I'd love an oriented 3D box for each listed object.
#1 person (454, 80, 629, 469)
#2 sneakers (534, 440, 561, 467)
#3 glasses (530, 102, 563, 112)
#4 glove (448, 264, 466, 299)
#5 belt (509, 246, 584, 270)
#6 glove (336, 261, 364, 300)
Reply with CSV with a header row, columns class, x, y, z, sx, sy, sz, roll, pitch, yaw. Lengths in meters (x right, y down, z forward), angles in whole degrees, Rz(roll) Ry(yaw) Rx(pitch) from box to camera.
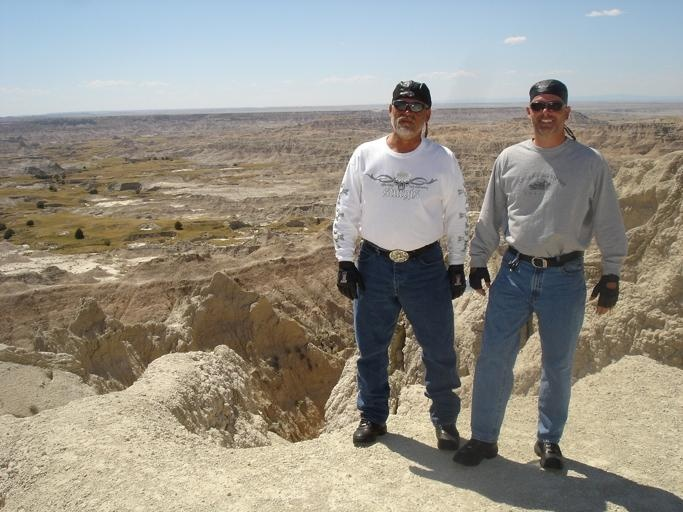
class,x,y,z,sx,sy,sz,roll,pitch,yaw
person,1.706,0.181,4.377,1.236,3.244,1.482,7,24,26
sneakers,1.768,1.701,4.292,0.221,0.232,0.250,1,20,13
glasses,1.759,-1.286,4.342,0.266,0.085,0.109,4,21,19
glove,1.055,0.229,4.683,0.237,0.259,0.116,-4,11,-21
belt,1.723,0.026,4.338,0.604,0.157,0.195,5,21,22
glove,0.107,0.228,4.711,0.285,0.330,0.108,-28,-1,20
